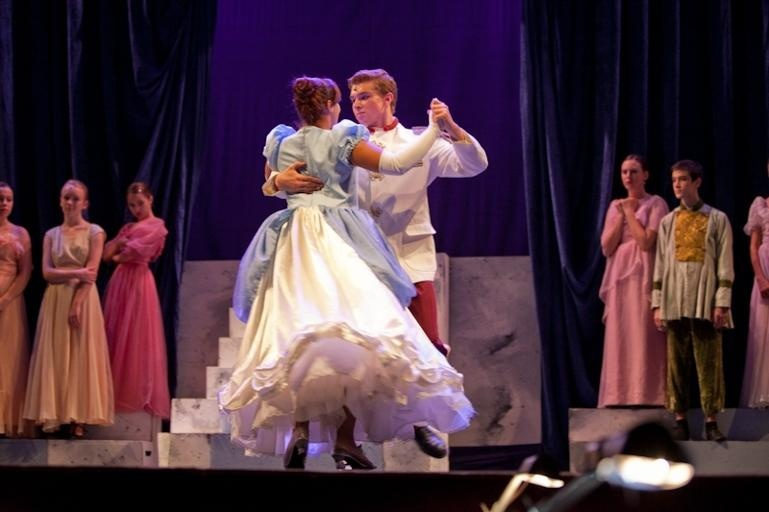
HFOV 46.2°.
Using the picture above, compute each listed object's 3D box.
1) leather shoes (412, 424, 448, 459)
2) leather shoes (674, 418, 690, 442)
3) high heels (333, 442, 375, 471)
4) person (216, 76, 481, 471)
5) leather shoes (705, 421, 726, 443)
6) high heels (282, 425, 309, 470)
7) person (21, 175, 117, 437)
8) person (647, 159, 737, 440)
[{"bbox_3d":[0.238,0.982,4.704,0.125,0.081,0.215,-8,37,-23],"label":"leather shoes"},{"bbox_3d":[1.835,1.065,5.576,0.083,0.126,0.205,-1,-6,18],"label":"leather shoes"},{"bbox_3d":[-0.176,1.001,4.468,0.272,0.150,0.092,3,-9,-8],"label":"high heels"},{"bbox_3d":[-0.222,0.058,4.587,1.160,2.017,0.578,0,-5,4],"label":"person"},{"bbox_3d":[2.020,1.081,5.520,0.072,0.098,0.203,-6,-21,-1],"label":"leather shoes"},{"bbox_3d":[-0.433,0.946,4.425,0.092,0.240,0.102,6,-14,-9],"label":"high heels"},{"bbox_3d":[-2.152,0.344,6.216,0.603,1.770,0.373,1,-5,-9],"label":"person"},{"bbox_3d":[1.912,0.253,5.624,0.493,1.744,0.304,-1,-5,18],"label":"person"}]
